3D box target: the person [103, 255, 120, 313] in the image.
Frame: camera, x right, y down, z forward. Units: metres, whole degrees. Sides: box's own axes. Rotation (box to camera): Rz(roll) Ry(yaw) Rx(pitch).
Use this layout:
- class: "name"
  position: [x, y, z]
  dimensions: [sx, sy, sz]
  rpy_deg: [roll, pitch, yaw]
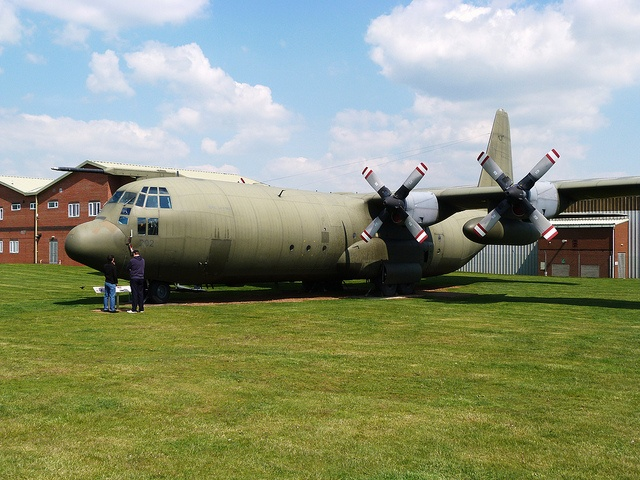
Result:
- class: "person"
  position: [-7.082, 1.467, 19.320]
  dimensions: [0.391, 1.814, 1.044]
  rpy_deg: [1, 4, -20]
